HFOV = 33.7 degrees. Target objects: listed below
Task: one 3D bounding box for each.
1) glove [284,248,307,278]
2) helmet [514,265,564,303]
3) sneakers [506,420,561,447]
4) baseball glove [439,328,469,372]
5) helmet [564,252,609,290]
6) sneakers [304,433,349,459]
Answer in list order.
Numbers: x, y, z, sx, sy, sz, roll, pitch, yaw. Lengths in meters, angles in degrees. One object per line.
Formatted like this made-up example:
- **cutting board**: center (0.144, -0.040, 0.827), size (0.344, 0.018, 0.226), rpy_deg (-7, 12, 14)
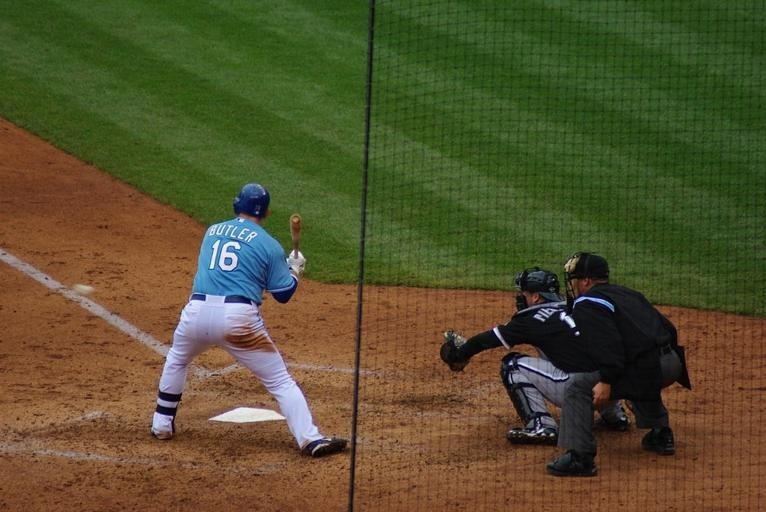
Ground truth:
- **glove**: center (-1.074, 0.074, 16.211), size (0.239, 0.344, 0.148), rpy_deg (-28, -24, 28)
- **helmet**: center (1.993, 0.312, 16.086), size (0.719, 0.312, 0.478), rpy_deg (14, 16, 10)
- **sneakers**: center (1.897, 2.203, 15.723), size (0.625, 0.207, 0.282), rpy_deg (1, 1, 3)
- **baseball glove**: center (0.930, 1.180, 16.155), size (0.445, 0.478, 0.219), rpy_deg (3, -28, 13)
- **helmet**: center (2.585, 0.179, 15.733), size (0.607, 0.412, 0.438), rpy_deg (-4, -6, 26)
- **sneakers**: center (-0.658, 2.332, 15.586), size (0.650, 0.232, 0.207), rpy_deg (-11, 1, -7)
